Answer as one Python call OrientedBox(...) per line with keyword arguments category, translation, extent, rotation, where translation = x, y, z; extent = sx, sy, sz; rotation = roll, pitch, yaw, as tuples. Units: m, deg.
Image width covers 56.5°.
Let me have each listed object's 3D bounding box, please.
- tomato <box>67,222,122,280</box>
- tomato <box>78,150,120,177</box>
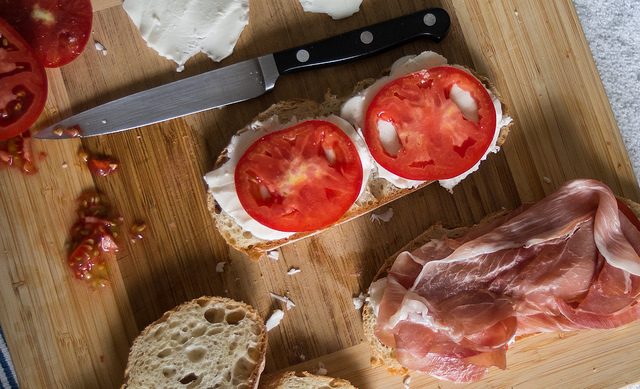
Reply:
OrientedBox(category="tomato", translation=(-1.691, 0.391, 4.489), extent=(0.441, 0.127, 0.313), rotation=(-41, 105, -11))
OrientedBox(category="tomato", translation=(-1.666, -0.221, 4.498), extent=(0.268, 0.090, 0.189), rotation=(4, 89, -5))
